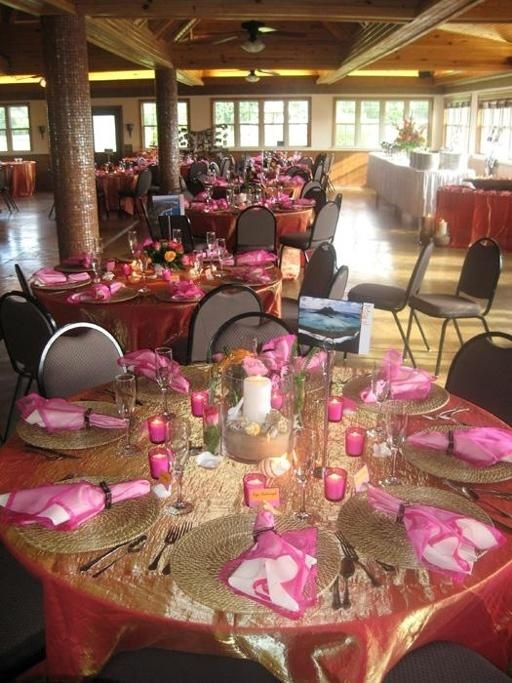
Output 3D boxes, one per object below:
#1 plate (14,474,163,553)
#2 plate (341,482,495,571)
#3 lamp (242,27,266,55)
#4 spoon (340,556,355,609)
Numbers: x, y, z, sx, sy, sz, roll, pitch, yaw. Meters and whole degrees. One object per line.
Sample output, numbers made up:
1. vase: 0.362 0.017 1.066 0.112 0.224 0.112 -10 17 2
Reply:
1. plate: -0.284 0.306 0.920 0.139 0.019 0.144 -8 12 -43
2. plate: 0.287 0.325 0.908 0.227 0.059 0.232 1 9 -31
3. lamp: -0.030 -4.259 7.123 0.260 0.299 0.438 3 14 5
4. spoon: 0.143 0.377 0.784 0.023 0.016 0.131 1 9 11
